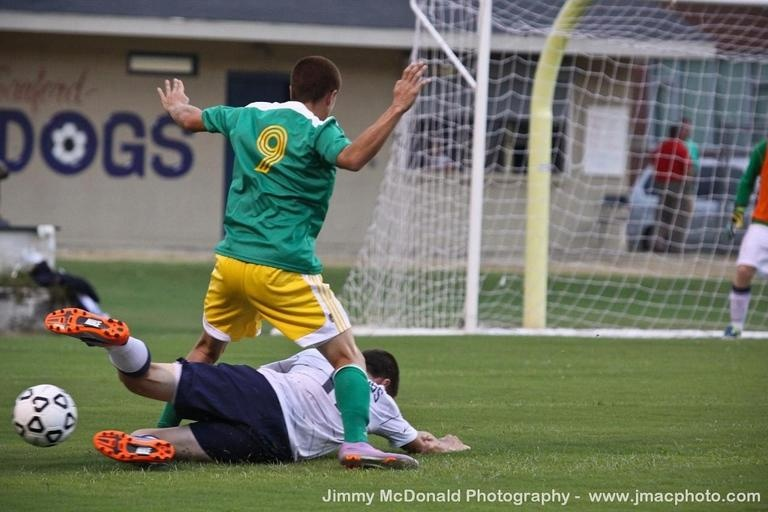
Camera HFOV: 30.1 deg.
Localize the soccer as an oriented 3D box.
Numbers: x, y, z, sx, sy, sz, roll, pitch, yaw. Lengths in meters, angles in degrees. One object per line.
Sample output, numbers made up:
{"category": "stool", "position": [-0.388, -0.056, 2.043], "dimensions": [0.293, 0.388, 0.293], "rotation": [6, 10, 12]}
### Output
{"category": "soccer", "position": [-2.771, 1.272, 11.564], "dimensions": [0.499, 0.473, 0.485], "rotation": [-17, 44, -35]}
